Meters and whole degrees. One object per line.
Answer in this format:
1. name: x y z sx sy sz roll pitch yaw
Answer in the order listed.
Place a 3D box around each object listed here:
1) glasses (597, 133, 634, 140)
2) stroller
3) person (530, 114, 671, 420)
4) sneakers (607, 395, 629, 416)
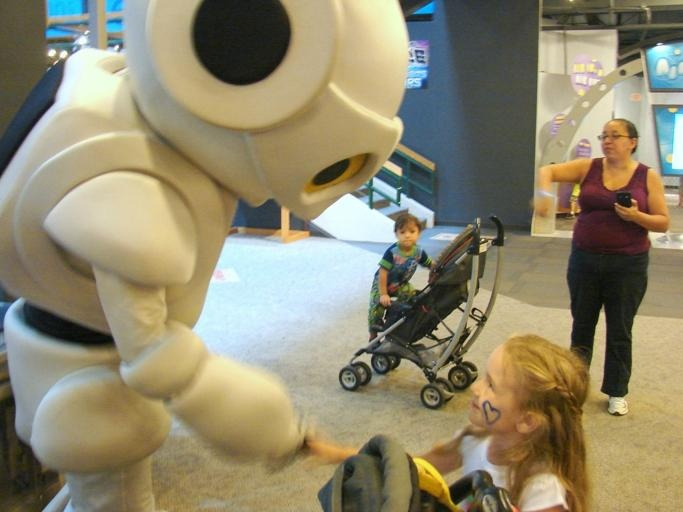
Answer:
1. glasses: 1.505 -0.647 3.247 0.160 0.041 0.079 8 17 28
2. stroller: 0.515 0.340 3.778 0.863 1.089 0.588 5 12 32
3. person: 1.465 0.010 3.403 0.656 1.541 0.315 8 18 29
4. sneakers: 1.594 0.866 3.419 0.070 0.063 0.154 0 -5 18
